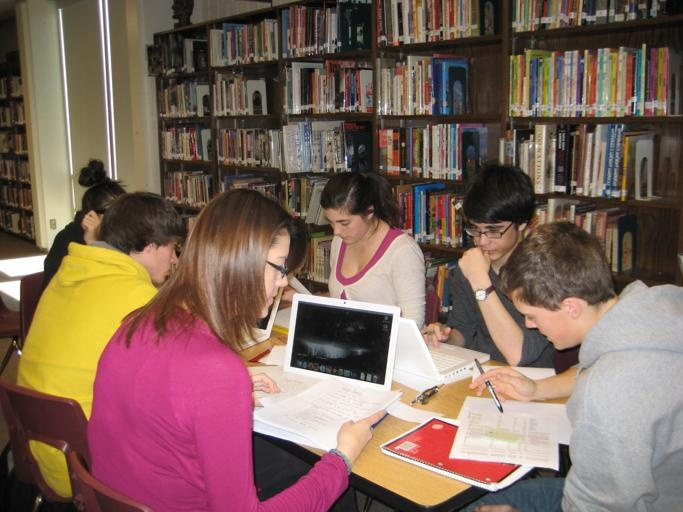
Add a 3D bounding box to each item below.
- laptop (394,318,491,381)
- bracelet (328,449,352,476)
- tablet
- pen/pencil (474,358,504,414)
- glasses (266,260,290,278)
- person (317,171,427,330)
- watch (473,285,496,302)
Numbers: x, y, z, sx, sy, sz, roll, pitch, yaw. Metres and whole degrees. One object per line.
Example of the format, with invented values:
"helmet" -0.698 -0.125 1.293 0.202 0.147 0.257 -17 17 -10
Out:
"laptop" 0.396 0.303 2.121 0.277 0.204 0.299 -10 15 -36
"bracelet" 0.004 0.588 1.589 0.023 0.071 0.054 -44 9 -14
"tablet" -0.065 0.336 1.976 0.482 0.328 0.347 4 4 25
"pen/pencil" 0.528 0.457 1.962 0.020 0.021 0.197 -11 40 -8
"glasses" -0.169 0.035 1.466 0.041 0.013 0.041 21 18 19
"person" 0.186 -0.042 2.834 0.363 0.996 0.631 -26 30 -38
"watch" 0.612 0.157 2.338 0.067 0.041 0.067 -35 -4 29
